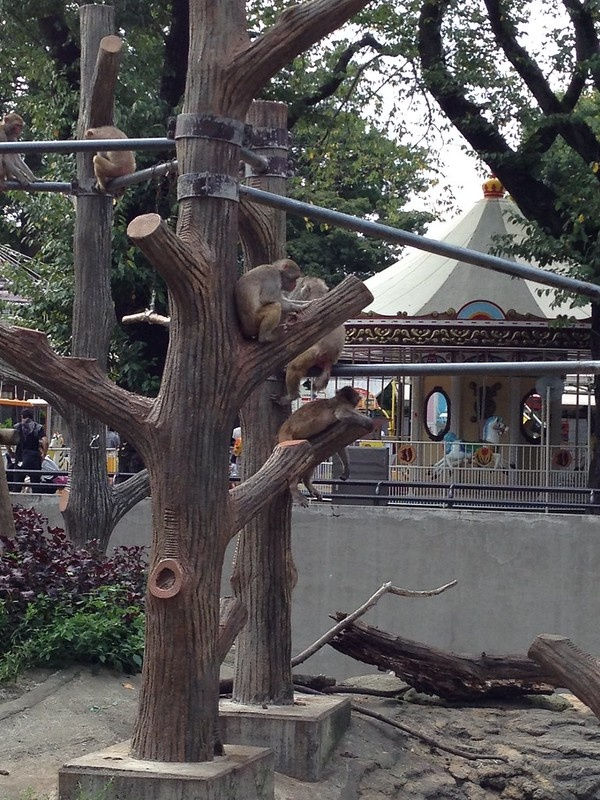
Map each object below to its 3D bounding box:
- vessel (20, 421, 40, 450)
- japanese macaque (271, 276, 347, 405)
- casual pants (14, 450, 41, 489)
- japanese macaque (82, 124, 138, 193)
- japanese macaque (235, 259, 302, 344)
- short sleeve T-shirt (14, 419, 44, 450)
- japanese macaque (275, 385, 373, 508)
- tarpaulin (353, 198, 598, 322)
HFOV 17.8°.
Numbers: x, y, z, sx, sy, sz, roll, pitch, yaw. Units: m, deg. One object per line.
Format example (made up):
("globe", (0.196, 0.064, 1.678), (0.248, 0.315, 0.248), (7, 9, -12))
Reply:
("vessel", (-3.224, 0.426, 22.583), (0.317, 0.382, 0.218), (0, 0, -10))
("japanese macaque", (0.010, -0.359, 13.886), (0.344, 1.048, 0.577), (15, 20, 39))
("casual pants", (-3.126, 0.789, 21.743), (0.299, 0.206, 0.640), (19, -8, -11))
("japanese macaque", (-1.366, -1.779, 14.109), (0.345, 0.511, 0.368), (-7, -4, 7))
("japanese macaque", (-0.220, -0.637, 12.879), (0.536, 0.667, 0.463), (-2, 7, -21))
("short sleeve T-shirt", (-3.140, 0.403, 21.995), (0.403, 0.399, 0.222), (2, -2, -18))
("japanese macaque", (0.171, 0.301, 13.522), (0.667, 0.800, 1.161), (2, -5, -1))
("tarpaulin", (2.088, -1.651, 27.228), (3.330, 1.624, 3.339), (0, -5, -2))
